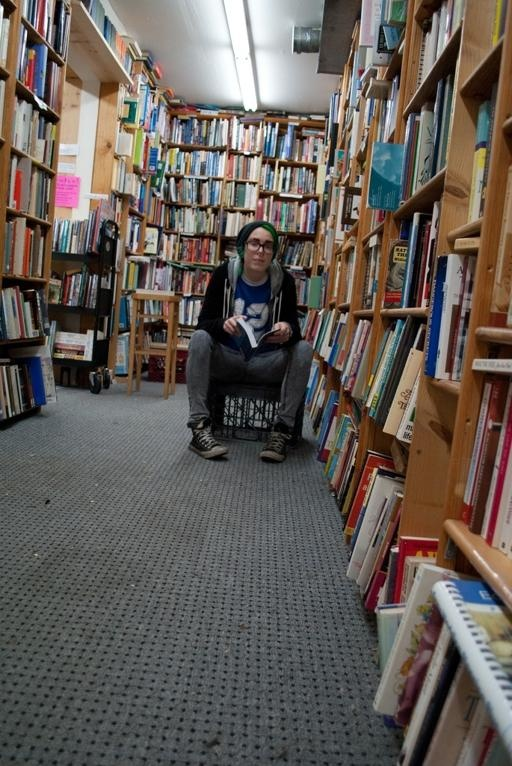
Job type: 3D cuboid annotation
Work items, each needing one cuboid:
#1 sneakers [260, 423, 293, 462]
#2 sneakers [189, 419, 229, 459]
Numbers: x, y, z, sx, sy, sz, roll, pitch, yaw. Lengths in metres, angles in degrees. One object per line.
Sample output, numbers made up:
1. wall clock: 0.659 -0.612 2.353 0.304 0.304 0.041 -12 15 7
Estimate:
1. sneakers: 0.099 0.305 2.370 0.081 0.126 0.258 15 1 9
2. sneakers: -0.243 0.277 2.271 0.095 0.186 0.263 0 2 -33
